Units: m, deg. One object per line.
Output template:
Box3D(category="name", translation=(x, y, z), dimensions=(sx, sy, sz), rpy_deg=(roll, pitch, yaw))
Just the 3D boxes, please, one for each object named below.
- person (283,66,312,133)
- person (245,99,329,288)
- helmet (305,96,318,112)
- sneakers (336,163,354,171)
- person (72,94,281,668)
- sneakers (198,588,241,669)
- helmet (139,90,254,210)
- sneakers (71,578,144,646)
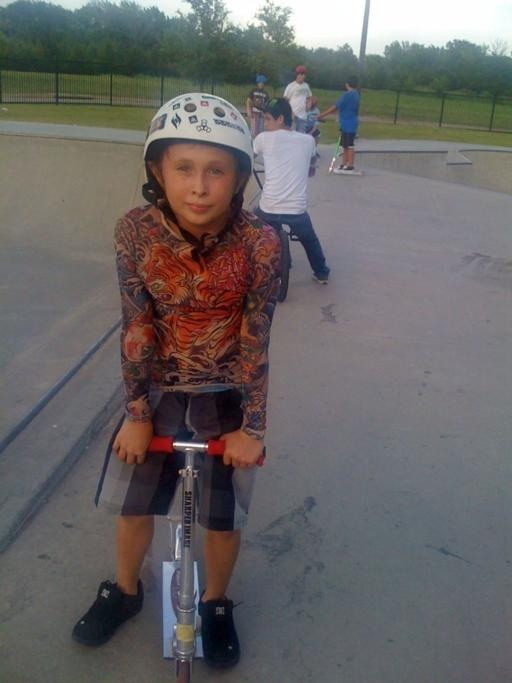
Box3D(category="person", translation=(0.942, -4.566, 11.410), dimensions=(0.478, 1.159, 0.320), rpy_deg=(13, 46, 37))
Box3D(category="person", translation=(0.284, -1.341, 5.472), dimensions=(0.868, 1.637, 0.796), rpy_deg=(0, 27, 2))
Box3D(category="helmet", translation=(1.103, -4.582, 11.499), dimensions=(0.240, 0.310, 0.311), rpy_deg=(8, 27, 13))
Box3D(category="sneakers", translation=(1.743, -3.413, 11.678), dimensions=(0.391, 0.151, 0.140), rpy_deg=(5, 17, 0))
Box3D(category="person", translation=(-0.232, 0.186, 1.608), dimensions=(0.526, 1.624, 0.358), rpy_deg=(4, 18, 1))
Box3D(category="sneakers", translation=(-0.103, 0.881, 1.817), dimensions=(0.086, 0.089, 0.226), rpy_deg=(0, 9, -7))
Box3D(category="helmet", translation=(-0.139, -0.491, 1.525), dimensions=(0.236, 0.283, 0.299), rpy_deg=(2, 33, -7))
Box3D(category="sneakers", translation=(-0.456, 0.839, 1.875), dimensions=(0.106, 0.131, 0.287), rpy_deg=(-1, 5, 34))
